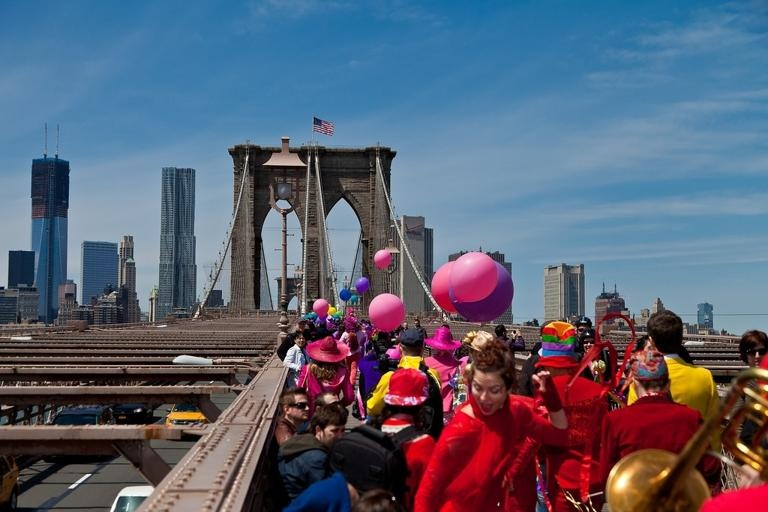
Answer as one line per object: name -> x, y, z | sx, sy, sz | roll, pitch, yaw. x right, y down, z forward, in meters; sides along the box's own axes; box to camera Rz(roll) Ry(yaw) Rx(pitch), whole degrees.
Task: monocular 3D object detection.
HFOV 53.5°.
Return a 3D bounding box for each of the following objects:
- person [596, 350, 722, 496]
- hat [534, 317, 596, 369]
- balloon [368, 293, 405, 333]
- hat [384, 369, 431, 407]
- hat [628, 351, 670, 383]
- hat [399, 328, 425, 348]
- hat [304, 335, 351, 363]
person -> 2.223, 1.302, 6.634 | 1.146, 1.562, 1.060 | -1, 19, 17
hat -> 1.600, 0.789, 6.844 | 0.458, 0.443, 0.440 | 2, -14, -2
balloon -> 0.103, 0.745, 11.256 | 0.595, 0.639, 0.560 | 2, 42, 12
hat -> 0.201, 1.080, 6.490 | 0.417, 0.197, 0.562 | -1, 10, 3
hat -> 2.194, 0.915, 6.302 | 0.272, 0.182, 0.257 | 3, -1, -29
hat -> 0.322, 0.909, 8.480 | 0.284, 0.137, 0.380 | 2, 15, -1
hat -> -0.688, 1.161, 8.922 | 0.393, 0.132, 0.385 | -11, 26, -44
